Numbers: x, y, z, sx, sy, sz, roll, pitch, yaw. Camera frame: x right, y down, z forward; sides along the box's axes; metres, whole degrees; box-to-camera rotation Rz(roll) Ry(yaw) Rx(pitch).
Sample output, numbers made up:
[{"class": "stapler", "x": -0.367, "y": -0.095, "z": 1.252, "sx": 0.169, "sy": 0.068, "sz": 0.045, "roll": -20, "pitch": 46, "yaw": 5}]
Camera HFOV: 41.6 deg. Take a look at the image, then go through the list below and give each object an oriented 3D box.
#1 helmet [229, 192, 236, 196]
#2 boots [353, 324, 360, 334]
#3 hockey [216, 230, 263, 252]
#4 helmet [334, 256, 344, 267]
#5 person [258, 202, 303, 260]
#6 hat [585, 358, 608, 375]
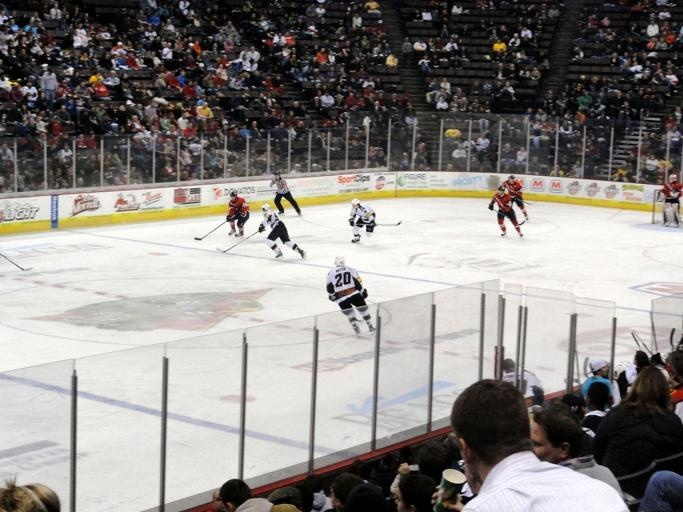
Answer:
[{"class": "helmet", "x": -2.681, "y": -1.566, "z": 22.612, "sx": 0.159, "sy": 0.073, "sz": 0.107, "roll": -6, "pitch": 15, "yaw": -18}, {"class": "boots", "x": 0.170, "y": 0.782, "z": 9.677, "sx": 0.085, "sy": 0.109, "sz": 0.042, "roll": -6, "pitch": 19, "yaw": -22}, {"class": "hockey", "x": -2.589, "y": -0.290, "z": 22.238, "sx": 0.337, "sy": 0.164, "sz": 1.542, "roll": 11, "pitch": -16, "yaw": -26}, {"class": "helmet", "x": -0.019, "y": 0.096, "z": 15.150, "sx": 0.192, "sy": 0.144, "sz": 0.173, "roll": 3, "pitch": -9, "yaw": 2}, {"class": "person", "x": -1.323, "y": -0.581, "z": 20.509, "sx": 1.036, "sy": 1.282, "sz": 0.736, "roll": 0, "pitch": 17, "yaw": -4}, {"class": "hat", "x": 3.019, "y": 1.291, "z": 10.575, "sx": 0.197, "sy": 0.068, "sz": 0.252, "roll": 2, "pitch": 16, "yaw": 36}]
